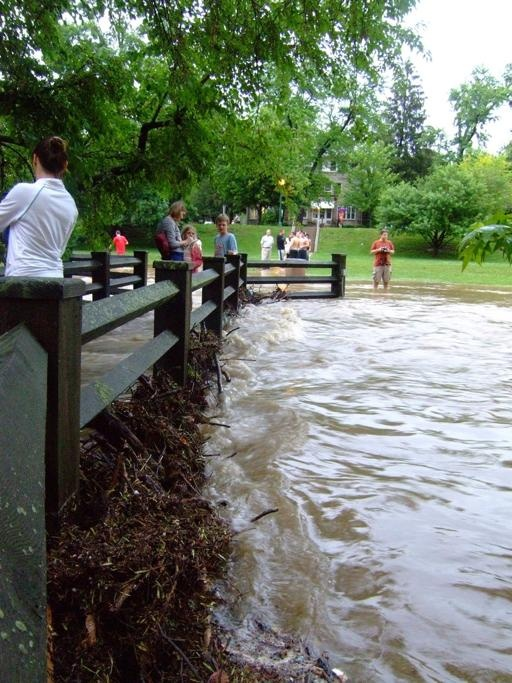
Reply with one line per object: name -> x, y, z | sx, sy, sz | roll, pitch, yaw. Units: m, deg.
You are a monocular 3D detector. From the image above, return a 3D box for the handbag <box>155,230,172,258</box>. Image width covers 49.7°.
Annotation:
handbag -> -1.536, -1.577, 9.197 | 0.136, 0.383, 0.364 | -13, 18, -25

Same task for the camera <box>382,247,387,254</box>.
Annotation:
camera -> 3.709, -2.610, 15.860 | 0.152, 0.156, 0.218 | 5, 11, 13
